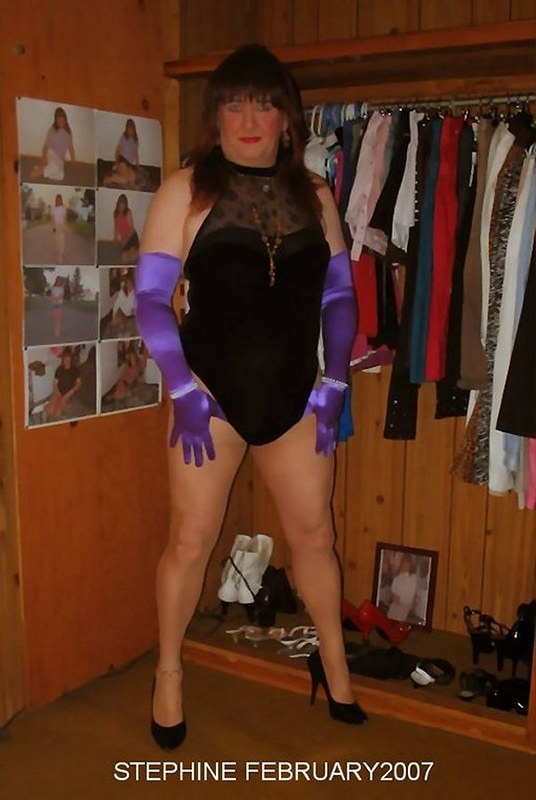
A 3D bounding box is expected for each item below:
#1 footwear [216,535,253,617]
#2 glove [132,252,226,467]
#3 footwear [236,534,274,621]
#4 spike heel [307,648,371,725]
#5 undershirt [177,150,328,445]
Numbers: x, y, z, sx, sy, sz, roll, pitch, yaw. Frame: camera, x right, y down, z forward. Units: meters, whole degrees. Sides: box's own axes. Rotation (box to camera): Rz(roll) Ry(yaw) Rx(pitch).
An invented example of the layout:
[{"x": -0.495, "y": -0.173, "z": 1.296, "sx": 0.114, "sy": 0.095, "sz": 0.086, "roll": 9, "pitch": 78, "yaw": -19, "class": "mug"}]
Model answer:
[{"x": -0.125, "y": 0.616, "z": 2.316, "sx": 0.072, "sy": 0.254, "sz": 0.137, "roll": 14, "pitch": -15, "yaw": -39, "class": "footwear"}, {"x": -0.196, "y": -0.082, "z": 1.374, "sx": 0.157, "sy": 0.442, "sz": 0.115, "roll": 5, "pitch": 7, "yaw": 39, "class": "glove"}, {"x": -0.077, "y": 0.607, "z": 2.419, "sx": 0.102, "sy": 0.235, "sz": 0.316, "roll": -1, "pitch": -3, "yaw": -16, "class": "footwear"}, {"x": 0.173, "y": 0.727, "z": 1.693, "sx": 0.163, "sy": 0.141, "sz": 0.078, "roll": 5, "pitch": -11, "yaw": 25, "class": "spike heel"}, {"x": -0.022, "y": -0.229, "z": 1.473, "sx": 0.290, "sy": 0.643, "sz": 0.270, "roll": -10, "pitch": 19, "yaw": -38, "class": "undershirt"}]
